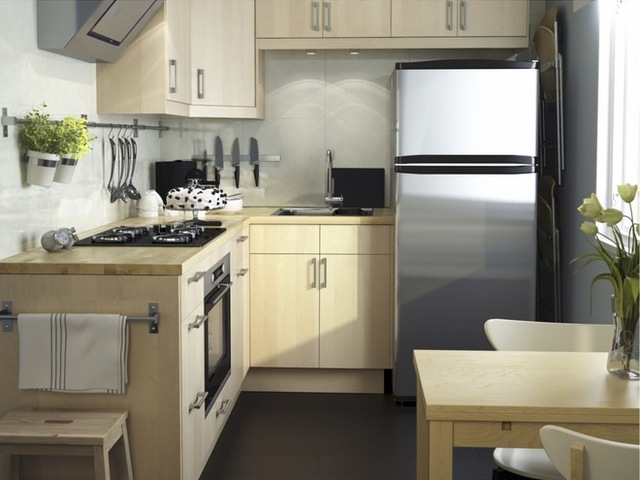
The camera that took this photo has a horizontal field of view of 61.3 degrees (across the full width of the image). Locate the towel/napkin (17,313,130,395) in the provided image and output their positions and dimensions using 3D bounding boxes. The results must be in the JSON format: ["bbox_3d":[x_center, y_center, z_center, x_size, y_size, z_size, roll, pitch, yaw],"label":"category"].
[{"bbox_3d":[-0.988,0.452,2.176,0.404,0.323,0.060,2,4,-10],"label":"towel/napkin"}]

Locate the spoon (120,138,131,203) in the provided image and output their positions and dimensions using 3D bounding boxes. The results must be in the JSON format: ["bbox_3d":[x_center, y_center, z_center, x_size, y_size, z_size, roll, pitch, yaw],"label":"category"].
[{"bbox_3d":[-1.196,-0.422,3.332,0.064,0.410,0.081,4,9,20],"label":"spoon"}]

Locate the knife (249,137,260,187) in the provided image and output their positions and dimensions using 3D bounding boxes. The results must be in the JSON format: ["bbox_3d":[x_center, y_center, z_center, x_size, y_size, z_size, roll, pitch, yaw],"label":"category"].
[{"bbox_3d":[-0.485,-0.564,3.999,0.073,0.365,0.198,-1,10,-7],"label":"knife"}]

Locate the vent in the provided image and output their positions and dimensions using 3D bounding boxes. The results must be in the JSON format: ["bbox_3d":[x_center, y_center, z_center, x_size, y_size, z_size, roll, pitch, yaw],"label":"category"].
[{"bbox_3d":[-1.117,-1.034,2.685,0.199,0.384,0.405,22,11,18],"label":"vent"}]

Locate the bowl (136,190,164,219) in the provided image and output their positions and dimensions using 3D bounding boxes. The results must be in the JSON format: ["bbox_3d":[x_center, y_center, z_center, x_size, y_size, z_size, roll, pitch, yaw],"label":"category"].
[{"bbox_3d":[-1.118,-0.235,3.577,0.116,0.172,0.242,2,11,13],"label":"bowl"}]

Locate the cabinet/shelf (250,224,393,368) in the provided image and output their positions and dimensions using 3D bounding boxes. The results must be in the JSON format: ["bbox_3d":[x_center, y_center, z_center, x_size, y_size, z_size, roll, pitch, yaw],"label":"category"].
[{"bbox_3d":[0.036,0.320,3.482,0.848,0.881,0.449,0,0,2],"label":"cabinet/shelf"}]

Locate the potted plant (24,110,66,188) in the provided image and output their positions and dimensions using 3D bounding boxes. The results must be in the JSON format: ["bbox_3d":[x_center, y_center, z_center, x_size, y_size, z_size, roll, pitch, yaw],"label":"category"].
[{"bbox_3d":[-1.287,-0.433,2.497,0.174,0.356,0.237,-6,11,-29],"label":"potted plant"}]

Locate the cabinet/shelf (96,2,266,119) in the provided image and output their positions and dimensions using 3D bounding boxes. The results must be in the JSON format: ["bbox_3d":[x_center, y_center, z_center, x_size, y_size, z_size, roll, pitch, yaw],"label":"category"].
[{"bbox_3d":[-0.825,-1.084,3.330,0.726,0.767,1.089,1,7,4],"label":"cabinet/shelf"}]
